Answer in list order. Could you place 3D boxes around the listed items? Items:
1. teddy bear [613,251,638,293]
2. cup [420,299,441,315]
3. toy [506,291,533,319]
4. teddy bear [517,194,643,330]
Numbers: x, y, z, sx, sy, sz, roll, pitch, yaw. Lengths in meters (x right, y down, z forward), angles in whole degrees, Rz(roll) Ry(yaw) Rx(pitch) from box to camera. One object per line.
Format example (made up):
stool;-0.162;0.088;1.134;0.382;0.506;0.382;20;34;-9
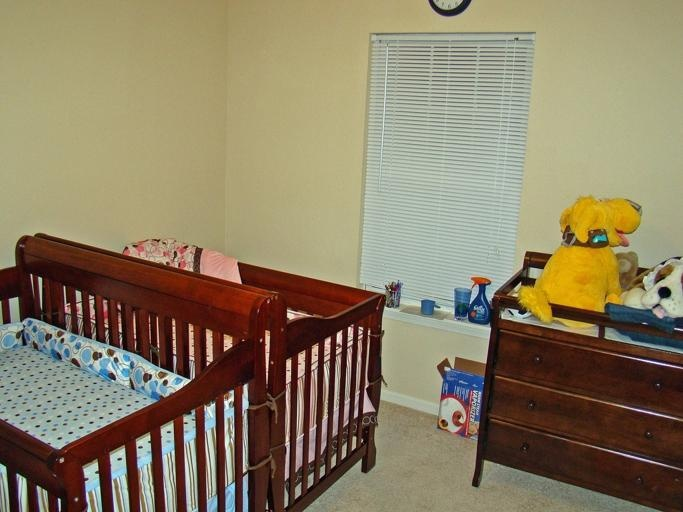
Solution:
teddy bear;1.575;0.086;3.129;0.215;0.170;0.077;-3;19;-42
cup;0.600;0.344;3.785;0.112;0.083;0.072;5;-6;-37
toy;0.938;0.258;2.917;0.086;0.127;0.036;22;17;24
teddy bear;1.222;0.021;2.893;0.547;0.618;0.453;-2;8;5
